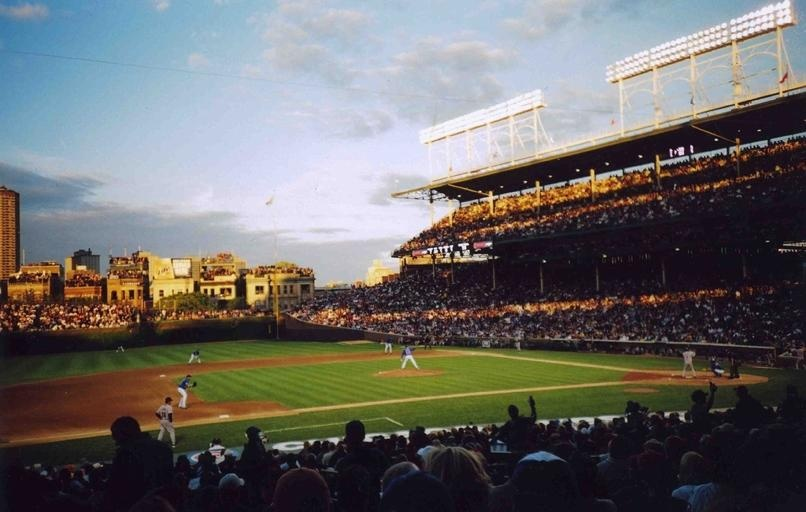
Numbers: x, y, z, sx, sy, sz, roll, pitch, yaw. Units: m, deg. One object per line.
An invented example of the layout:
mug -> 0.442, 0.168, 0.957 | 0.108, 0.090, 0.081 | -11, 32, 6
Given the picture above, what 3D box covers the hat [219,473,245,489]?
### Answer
hat -> -6.080, 8.118, 26.110 | 0.778, 0.396, 1.104 | 2, 0, 4
